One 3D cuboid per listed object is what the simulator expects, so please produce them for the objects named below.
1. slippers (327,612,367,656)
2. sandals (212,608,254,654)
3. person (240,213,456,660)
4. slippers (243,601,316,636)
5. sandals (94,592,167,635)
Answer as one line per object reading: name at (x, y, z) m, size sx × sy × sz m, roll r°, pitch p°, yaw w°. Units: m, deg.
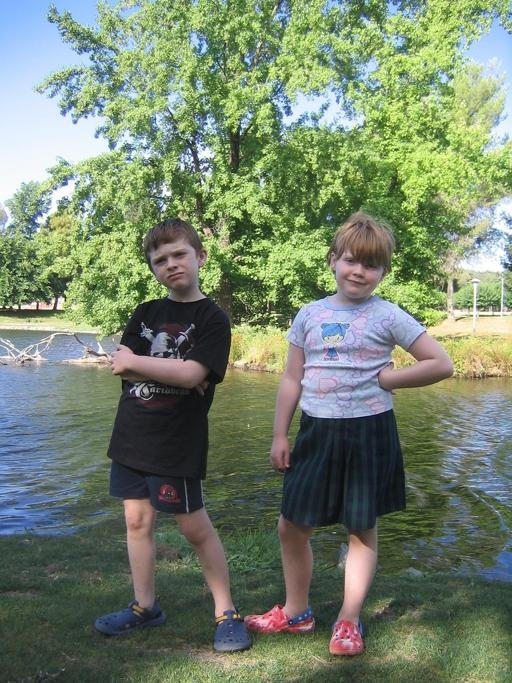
slippers at (0.342, 1.107, 2.092) m, size 0.121 × 0.089 × 0.221 m, roll -1°, pitch -24°, yaw 6°
sandals at (-0.087, 1.109, 2.132) m, size 0.142 × 0.112 × 0.138 m, roll 1°, pitch -8°, yaw -2°
person at (0.365, 0.314, 2.237) m, size 0.793 × 1.721 × 0.293 m, roll -4°, pitch -10°, yaw 27°
slippers at (0.098, 1.148, 2.313) m, size 0.236 × 0.083 × 0.114 m, roll 2°, pitch -17°, yaw 4°
sandals at (-0.511, 1.119, 2.278) m, size 0.272 × 0.105 × 0.098 m, roll 1°, pitch 11°, yaw -24°
